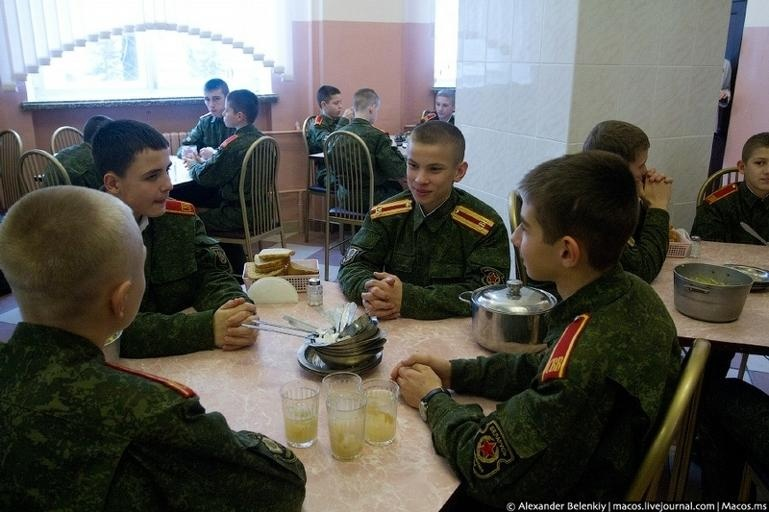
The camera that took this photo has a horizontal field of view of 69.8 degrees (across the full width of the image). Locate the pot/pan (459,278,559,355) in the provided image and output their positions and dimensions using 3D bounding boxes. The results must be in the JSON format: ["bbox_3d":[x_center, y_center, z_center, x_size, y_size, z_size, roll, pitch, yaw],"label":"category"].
[{"bbox_3d":[0.425,0.194,1.842,0.343,0.223,0.266,4,18,8],"label":"pot/pan"}]

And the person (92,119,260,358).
[{"bbox_3d":[-0.839,-0.080,2.138,0.721,0.739,0.508,3,8,11],"label":"person"}]

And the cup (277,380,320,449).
[{"bbox_3d":[-0.227,0.432,1.479,0.112,0.132,0.113,0,5,0],"label":"cup"}]

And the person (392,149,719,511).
[{"bbox_3d":[0.437,0.170,1.471,0.683,0.844,0.519,-8,19,-20],"label":"person"}]

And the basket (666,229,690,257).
[{"bbox_3d":[1.393,-0.062,2.600,0.108,0.053,0.162,7,15,28],"label":"basket"}]

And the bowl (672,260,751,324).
[{"bbox_3d":[1.206,0.131,2.093,0.266,0.143,0.260,2,19,-1],"label":"bowl"}]

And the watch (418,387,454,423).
[{"bbox_3d":[0.144,0.429,1.543,0.050,0.083,0.084,-17,-25,1],"label":"watch"}]

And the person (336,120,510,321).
[{"bbox_3d":[0.161,-0.059,2.334,0.684,0.927,0.630,-7,19,-22],"label":"person"}]

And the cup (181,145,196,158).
[{"bbox_3d":[-1.644,-0.867,4.599,0.112,0.117,0.109,5,32,-3],"label":"cup"}]
